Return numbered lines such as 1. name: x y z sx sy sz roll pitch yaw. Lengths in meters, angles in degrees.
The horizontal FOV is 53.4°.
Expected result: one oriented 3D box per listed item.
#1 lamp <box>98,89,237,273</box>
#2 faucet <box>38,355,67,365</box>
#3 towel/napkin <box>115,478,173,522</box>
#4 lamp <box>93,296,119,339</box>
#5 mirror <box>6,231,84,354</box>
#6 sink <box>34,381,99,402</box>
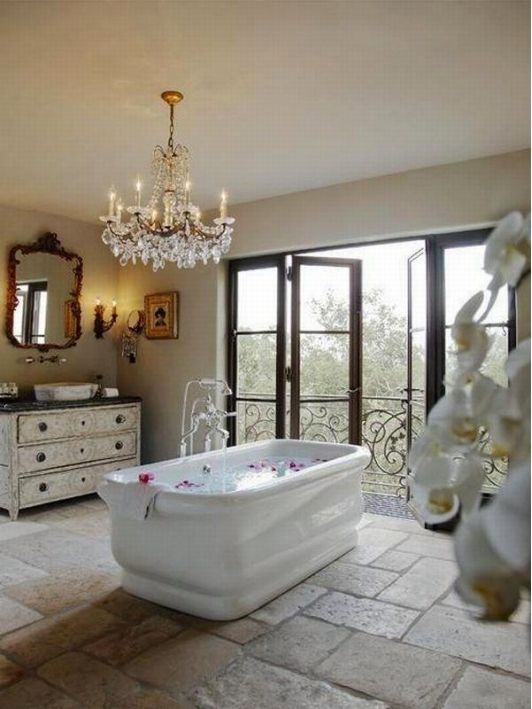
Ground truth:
1. lamp: -0.546 -1.012 2.954 0.688 0.934 0.730 5 10 29
2. faucet: -2.025 0.053 5.013 0.056 0.094 0.298 -1 -3 29
3. towel/napkin: -0.593 0.675 2.464 0.189 0.198 0.084 5 -2 21
4. lamp: -1.639 -0.354 5.502 0.216 0.404 0.372 0 -2 12
5. mirror: -2.049 -0.571 4.930 0.135 1.111 0.797 -1 -2 29
6. sink: -1.729 0.344 4.662 0.552 0.133 0.306 2 -3 -38
